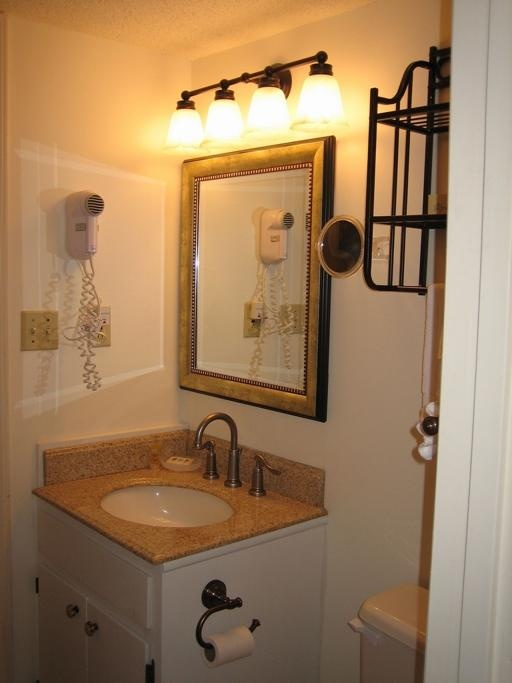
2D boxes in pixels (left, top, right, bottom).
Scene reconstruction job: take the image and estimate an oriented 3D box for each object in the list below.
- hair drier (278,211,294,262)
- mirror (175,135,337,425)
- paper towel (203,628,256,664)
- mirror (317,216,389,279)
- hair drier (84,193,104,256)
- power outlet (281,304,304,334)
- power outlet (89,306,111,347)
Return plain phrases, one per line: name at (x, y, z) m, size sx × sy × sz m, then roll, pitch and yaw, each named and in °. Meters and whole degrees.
hair drier at (0.091, -0.306, 1.666) m, size 0.050 × 0.134 × 0.007 m, roll 5°, pitch 9°, yaw 42°
mirror at (0.014, -0.199, 1.744) m, size 0.054 × 0.986 × 0.842 m, roll -3°, pitch 8°, yaw -40°
paper towel at (-0.064, 0.666, 1.303) m, size 0.104 × 0.070 × 0.074 m, roll -15°, pitch -3°, yaw -33°
mirror at (0.233, -0.233, 1.419) m, size 0.043 × 0.128 × 0.166 m, roll -12°, pitch 11°, yaw -40°
hair drier at (-0.490, -0.348, 1.742) m, size 0.049 × 0.177 × 0.193 m, roll -2°, pitch 7°, yaw -16°
power outlet at (0.108, -0.064, 1.654) m, size 0.042 × 0.077 × 0.076 m, roll -3°, pitch 8°, yaw -27°
power outlet at (-0.501, -0.042, 1.850) m, size 0.037 × 0.137 × 0.092 m, roll 0°, pitch 7°, yaw 8°
